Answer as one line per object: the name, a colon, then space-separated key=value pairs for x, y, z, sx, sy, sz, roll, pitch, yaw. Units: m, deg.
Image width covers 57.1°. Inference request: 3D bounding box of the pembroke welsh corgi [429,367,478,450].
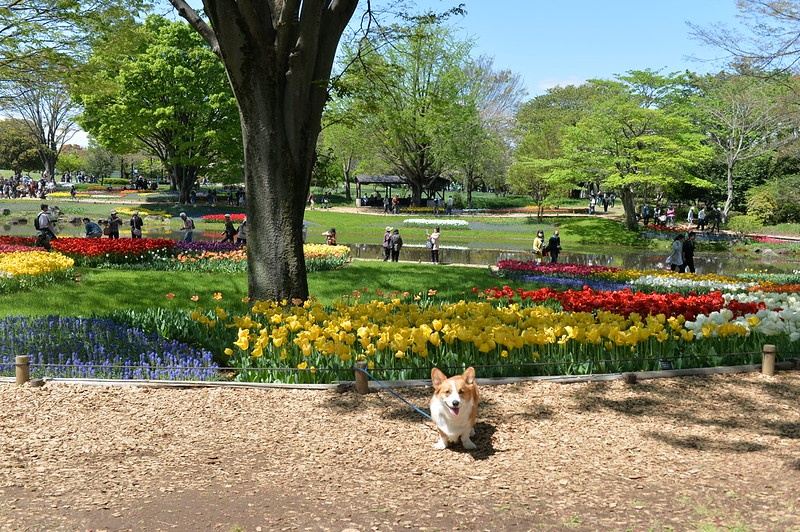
pembroke welsh corgi: x=0.801 y=2.121 z=11.048 sx=0.687 sy=1.303 sz=0.590 roll=0 pitch=4 yaw=3
